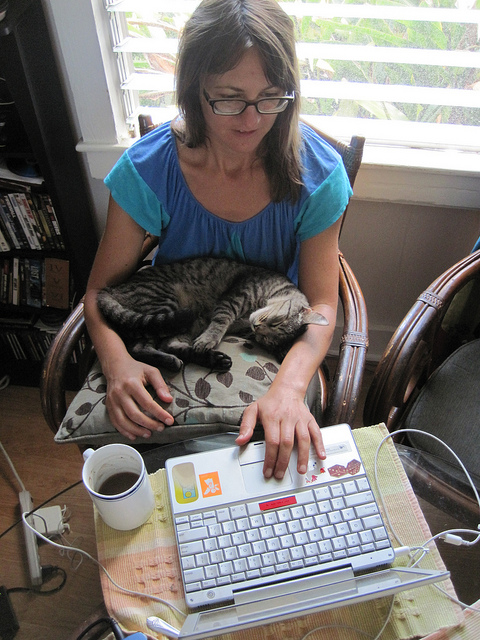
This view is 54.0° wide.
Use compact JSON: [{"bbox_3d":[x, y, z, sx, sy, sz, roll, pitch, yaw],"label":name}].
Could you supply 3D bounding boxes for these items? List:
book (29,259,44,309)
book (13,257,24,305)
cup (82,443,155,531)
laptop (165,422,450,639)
[{"bbox_3d":[-0.690,-0.127,1.599,0.027,0.116,0.115,2,10,-13],"label":"book"},{"bbox_3d":[-0.750,-0.135,1.599,0.026,0.115,0.115,4,7,-15],"label":"book"},{"bbox_3d":[-0.165,0.230,0.645,0.086,0.112,0.083,1,39,-1],"label":"cup"},{"bbox_3d":[0.067,0.272,0.648,0.329,0.047,0.249,-8,40,-11],"label":"laptop"}]
